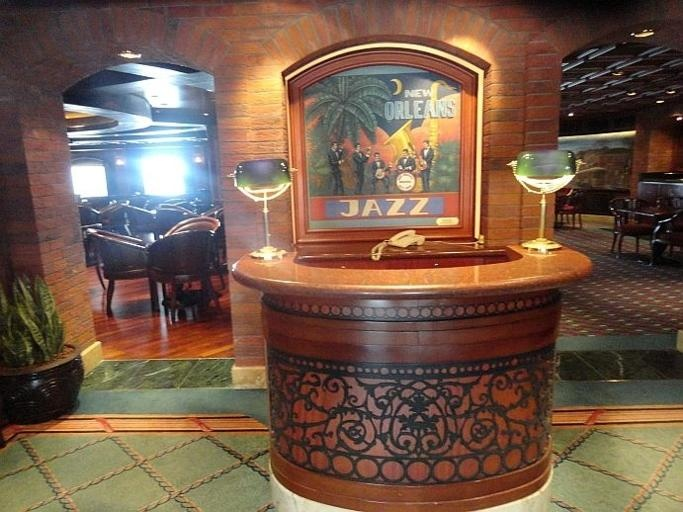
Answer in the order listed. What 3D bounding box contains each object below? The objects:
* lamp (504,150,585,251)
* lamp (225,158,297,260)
[{"bbox_3d":[1.520,-0.419,3.826,0.443,0.698,0.928,2,10,22],"label":"lamp"},{"bbox_3d":[-0.579,-0.363,3.896,0.474,0.747,1.006,-5,10,-10],"label":"lamp"}]
